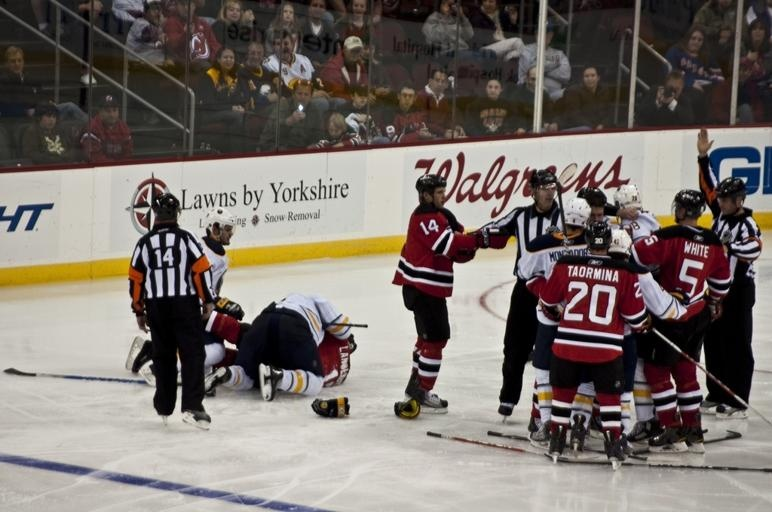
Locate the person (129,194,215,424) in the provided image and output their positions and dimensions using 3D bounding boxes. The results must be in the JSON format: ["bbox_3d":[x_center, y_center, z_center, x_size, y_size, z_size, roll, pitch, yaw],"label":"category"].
[{"bbox_3d":[-1.943,0.473,10.316,0.770,2.080,0.330,2,2,-5],"label":"person"}]

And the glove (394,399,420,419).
[{"bbox_3d":[0.205,1.406,10.705,0.241,0.145,0.092,1,12,-40],"label":"glove"}]

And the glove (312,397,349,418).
[{"bbox_3d":[-0.523,1.401,10.639,0.287,0.173,0.123,0,14,-12],"label":"glove"}]

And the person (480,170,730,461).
[{"bbox_3d":[1.949,0.527,10.141,1.599,2.291,1.010,2,2,5],"label":"person"}]

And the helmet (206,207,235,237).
[{"bbox_3d":[-1.688,-0.363,11.666,0.297,0.230,0.231,-4,13,2],"label":"helmet"}]

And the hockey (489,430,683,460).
[{"bbox_3d":[1.627,1.673,10.023,1.599,0.156,0.491,3,1,16],"label":"hockey"}]

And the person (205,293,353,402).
[{"bbox_3d":[-1.024,0.873,11.085,0.857,0.646,1.439,2,0,28],"label":"person"}]

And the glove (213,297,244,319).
[{"bbox_3d":[-1.613,0.544,11.599,0.260,0.114,0.183,28,22,9],"label":"glove"}]

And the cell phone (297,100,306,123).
[{"bbox_3d":[-1.231,-2.084,16.467,0.133,0.209,0.052,6,2,15],"label":"cell phone"}]

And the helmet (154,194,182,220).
[{"bbox_3d":[-2.024,-0.452,10.393,0.202,0.228,0.245,-10,30,6],"label":"helmet"}]

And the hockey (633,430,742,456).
[{"bbox_3d":[2.641,1.652,10.172,0.707,0.264,0.200,-3,0,3],"label":"hockey"}]
